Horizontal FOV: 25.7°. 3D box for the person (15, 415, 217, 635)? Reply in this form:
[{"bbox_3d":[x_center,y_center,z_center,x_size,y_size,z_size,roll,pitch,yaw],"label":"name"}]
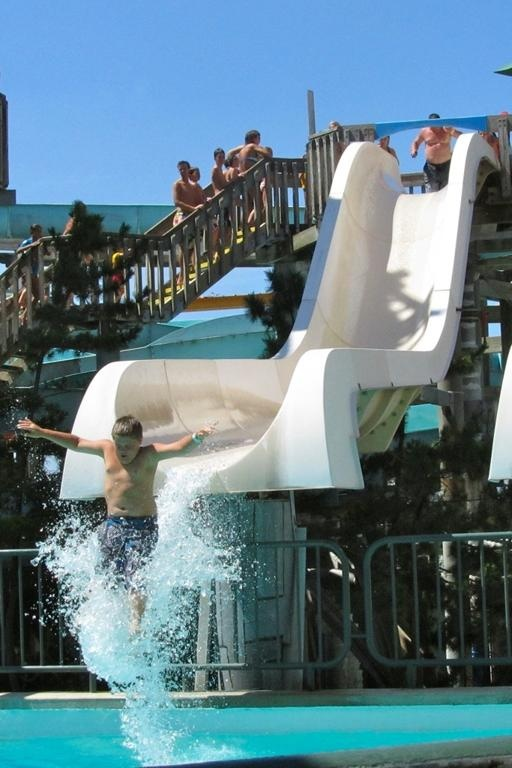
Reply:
[{"bbox_3d":[-0.666,0.652,5.677,0.453,0.960,0.969,-10,11,-36],"label":"person"}]

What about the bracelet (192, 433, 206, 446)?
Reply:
[{"bbox_3d":[-0.273,0.260,5.386,0.050,0.072,0.028,0,-9,2],"label":"bracelet"}]

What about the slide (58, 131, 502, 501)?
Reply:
[{"bbox_3d":[0.683,-0.747,8.446,1.674,2.656,5.039,-1,5,27],"label":"slide"}]
